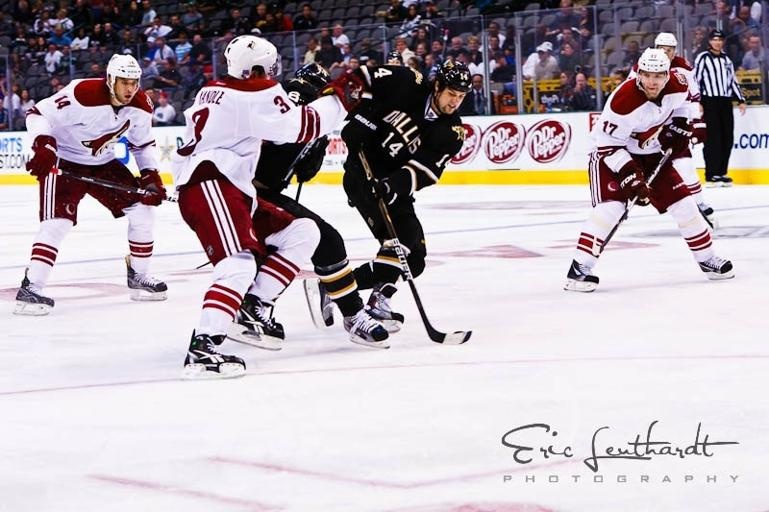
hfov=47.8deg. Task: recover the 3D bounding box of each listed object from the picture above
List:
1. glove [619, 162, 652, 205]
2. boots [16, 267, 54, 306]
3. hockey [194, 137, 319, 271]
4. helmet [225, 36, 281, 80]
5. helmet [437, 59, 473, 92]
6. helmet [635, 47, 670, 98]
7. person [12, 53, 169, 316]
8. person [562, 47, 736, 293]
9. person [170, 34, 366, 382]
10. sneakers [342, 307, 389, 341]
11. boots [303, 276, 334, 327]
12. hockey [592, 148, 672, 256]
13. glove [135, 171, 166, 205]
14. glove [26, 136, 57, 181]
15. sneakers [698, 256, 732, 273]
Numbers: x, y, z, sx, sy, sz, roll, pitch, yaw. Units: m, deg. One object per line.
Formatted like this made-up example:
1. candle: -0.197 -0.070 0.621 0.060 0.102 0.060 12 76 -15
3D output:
1. glove: 1.486 -0.424 5.135 0.214 0.262 0.114 -8 22 11
2. boots: -1.946 0.194 4.832 0.212 0.223 0.168 0 12 13
3. hockey: -0.534 -0.266 3.939 0.443 0.612 0.372 9 46 -17
4. helmet: -0.560 -0.846 3.749 0.280 0.150 0.183 -13 36 -23
5. helmet: 0.324 -0.854 4.144 0.164 0.156 0.199 -2 11 2
6. helmet: 1.550 -1.047 4.980 0.256 0.273 0.274 5 55 20
7. person: -1.729 -0.416 4.981 0.888 1.410 0.684 -6 13 -12
8. person: 1.641 -0.537 5.242 0.710 1.361 1.319 8 16 42
9. person: -0.626 -0.225 3.702 0.853 1.393 0.493 -15 17 -42
10. sneakers: -0.092 0.329 4.098 0.109 0.090 0.249 -21 23 -39
11. boots: -0.321 0.225 4.224 0.154 0.261 0.103 -18 21 -7
12. hockey: 1.541 -0.388 5.272 0.077 0.198 1.362 -2 44 42
13. glove: -1.403 -0.388 5.171 0.186 0.195 0.089 -19 -6 -22
14. glove: -1.872 -0.535 4.739 0.159 0.243 0.272 -7 12 -18
15. sneakers: 1.997 0.061 5.282 0.088 0.071 0.202 -19 12 -31
